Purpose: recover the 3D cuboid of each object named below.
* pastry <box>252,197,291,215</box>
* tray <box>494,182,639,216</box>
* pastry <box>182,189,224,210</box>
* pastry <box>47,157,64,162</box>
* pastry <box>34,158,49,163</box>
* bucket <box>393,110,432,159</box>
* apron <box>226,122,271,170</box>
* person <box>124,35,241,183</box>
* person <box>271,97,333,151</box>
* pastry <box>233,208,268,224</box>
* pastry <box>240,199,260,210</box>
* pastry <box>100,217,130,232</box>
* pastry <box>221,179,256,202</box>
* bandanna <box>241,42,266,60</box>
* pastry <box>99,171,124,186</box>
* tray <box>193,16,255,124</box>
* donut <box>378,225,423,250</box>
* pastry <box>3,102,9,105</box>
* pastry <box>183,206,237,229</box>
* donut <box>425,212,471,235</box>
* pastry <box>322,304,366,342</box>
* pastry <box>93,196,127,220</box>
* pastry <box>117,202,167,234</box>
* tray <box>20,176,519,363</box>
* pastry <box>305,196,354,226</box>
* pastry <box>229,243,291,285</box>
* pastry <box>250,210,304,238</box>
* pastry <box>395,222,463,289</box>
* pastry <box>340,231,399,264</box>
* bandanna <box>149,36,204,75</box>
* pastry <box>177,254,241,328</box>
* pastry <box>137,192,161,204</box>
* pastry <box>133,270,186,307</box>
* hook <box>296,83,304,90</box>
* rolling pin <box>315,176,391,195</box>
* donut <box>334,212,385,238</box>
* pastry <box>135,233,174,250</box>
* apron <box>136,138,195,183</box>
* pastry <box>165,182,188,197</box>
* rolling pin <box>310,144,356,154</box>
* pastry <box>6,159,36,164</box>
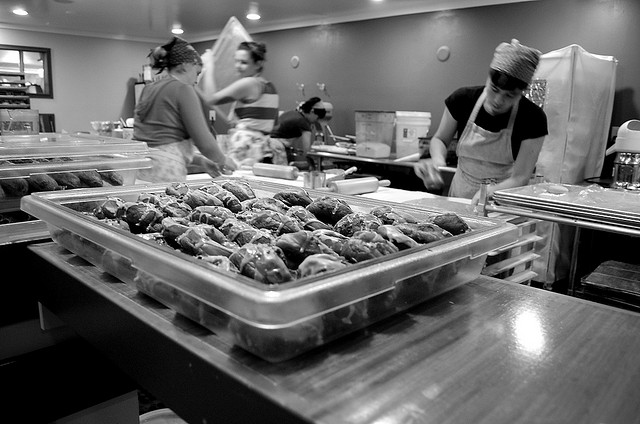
[{"bbox_3d":[-0.126,-0.008,1.066,0.058,0.017,0.059,14,0,26],"label":"pastry"},{"bbox_3d":[1.052,-0.052,1.711,0.441,0.061,0.646,-9,13,-44],"label":"tray"},{"bbox_3d":[-0.325,-0.032,1.084,0.057,0.027,0.077,4,-8,32],"label":"pastry"},{"bbox_3d":[-0.943,-0.187,1.430,0.044,0.014,0.018,-14,22,-34],"label":"pastry"},{"bbox_3d":[-0.964,-0.181,1.396,0.016,0.017,0.043,10,21,32],"label":"pastry"},{"bbox_3d":[1.104,-0.904,4.689,0.590,0.596,0.576,3,11,-1],"label":"bucket"},{"bbox_3d":[-0.610,-0.579,3.379,0.357,0.353,0.217,-4,19,-9],"label":"apron"},{"bbox_3d":[-0.854,-0.594,2.397,0.562,0.885,0.624,-10,20,-23],"label":"person"},{"bbox_3d":[-0.236,-1.141,5.223,0.423,0.646,1.098,7,20,25],"label":"person"},{"bbox_3d":[-0.178,0.004,0.981,0.042,0.012,0.053,5,13,20],"label":"pastry"},{"bbox_3d":[-0.195,-0.023,1.109,0.032,0.014,0.043,-18,11,-14],"label":"pastry"},{"bbox_3d":[-0.497,0.025,0.976,0.052,0.015,0.052,19,-1,26],"label":"pastry"},{"bbox_3d":[-0.253,-0.069,1.221,0.095,0.033,0.069,28,34,9],"label":"pastry"},{"bbox_3d":[-0.510,-1.247,3.076,0.173,0.112,0.110,-6,19,-12],"label":"bandanna"},{"bbox_3d":[-0.821,-0.135,1.591,0.078,0.025,0.058,-4,-15,37],"label":"pastry"},{"bbox_3d":[-0.716,-1.186,3.348,0.556,0.908,0.221,13,17,43],"label":"tray"},{"bbox_3d":[0.167,0.050,0.875,0.096,0.036,0.055,16,27,19],"label":"donut"},{"bbox_3d":[-1.410,-0.489,1.807,0.023,0.006,0.022,19,20,32],"label":"pastry"},{"bbox_3d":[-0.262,0.002,0.982,0.093,0.030,0.067,7,13,17],"label":"pastry"},{"bbox_3d":[0.300,0.029,0.966,0.076,0.031,0.061,20,-2,-29],"label":"donut"},{"bbox_3d":[0.046,0.202,0.745,0.105,0.070,0.014,-14,22,-34],"label":"pastry"},{"bbox_3d":[-0.535,-0.010,1.046,0.075,0.030,0.053,-18,46,-3],"label":"pastry"},{"bbox_3d":[-0.425,0.014,1.012,0.121,0.086,0.100,11,12,41],"label":"pastry"},{"bbox_3d":[-0.164,0.097,0.968,1.121,0.208,0.576,7,20,25],"label":"tray"},{"bbox_3d":[0.036,-0.010,1.103,0.113,0.064,0.127,-9,13,-43],"label":"pastry"},{"bbox_3d":[-0.108,0.089,0.713,0.062,0.048,0.116,-15,22,-35],"label":"pastry"},{"bbox_3d":[-0.099,0.017,0.913,0.091,0.026,0.061,14,20,25],"label":"pastry"},{"bbox_3d":[0.255,0.076,0.903,0.098,0.150,0.140,-8,19,-38],"label":"pastry"},{"bbox_3d":[0.091,0.062,0.799,0.092,0.047,0.128,6,7,6],"label":"pastry"},{"bbox_3d":[-0.862,-0.939,2.392,0.280,0.191,0.143,-6,19,-13],"label":"bandanna"},{"bbox_3d":[-0.202,0.151,0.753,0.079,0.129,0.148,-19,25,-41],"label":"pastry"},{"bbox_3d":[-0.476,-0.039,1.100,0.081,0.025,0.053,8,11,28],"label":"pastry"},{"bbox_3d":[-0.325,0.154,0.819,0.094,0.034,0.088,37,-19,-20],"label":"pastry"},{"bbox_3d":[-0.357,-2.111,6.716,0.154,0.147,0.091,-6,10,-12],"label":"hook"},{"bbox_3d":[0.252,-0.165,2.273,0.117,0.110,0.681,40,30,29],"label":"rolling pin"},{"bbox_3d":[0.085,0.025,0.935,0.079,0.027,0.061,-6,13,1],"label":"donut"},{"bbox_3d":[-0.370,0.059,0.902,0.072,0.025,0.055,25,-1,28],"label":"pastry"},{"bbox_3d":[-0.913,-0.269,2.348,0.264,0.314,0.462,1,6,-22],"label":"apron"},{"bbox_3d":[-0.416,-0.075,1.186,0.052,0.021,0.066,2,9,-2],"label":"pastry"},{"bbox_3d":[0.167,-0.836,5.306,0.189,0.067,0.704,-15,22,-36],"label":"rolling pin"},{"bbox_3d":[-1.004,-0.172,1.352,0.020,0.019,0.073,8,20,26],"label":"pastry"}]
